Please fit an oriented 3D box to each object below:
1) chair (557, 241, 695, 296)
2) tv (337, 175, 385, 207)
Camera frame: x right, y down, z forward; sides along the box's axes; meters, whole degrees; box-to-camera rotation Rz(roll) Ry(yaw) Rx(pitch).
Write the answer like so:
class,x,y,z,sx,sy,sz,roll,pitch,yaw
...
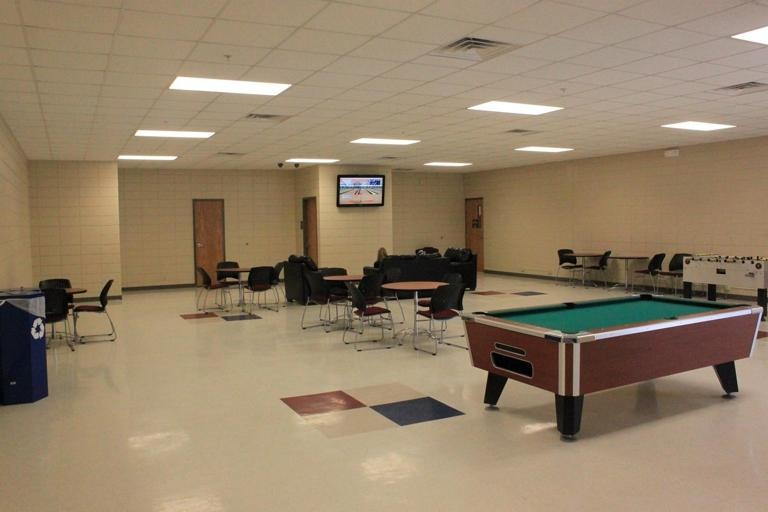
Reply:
class,x,y,z,sx,sy,sz,roll,pitch,yaw
chair,6.368,0.336,13.779,1.067,1.069,3.438,-5,8,-30
tv,-0.770,-2.015,15.311,1.162,0.602,0.108,-2,6,-22
